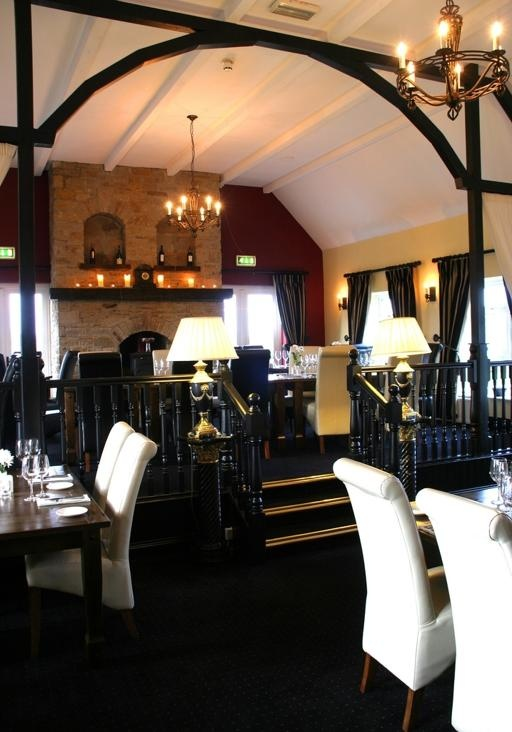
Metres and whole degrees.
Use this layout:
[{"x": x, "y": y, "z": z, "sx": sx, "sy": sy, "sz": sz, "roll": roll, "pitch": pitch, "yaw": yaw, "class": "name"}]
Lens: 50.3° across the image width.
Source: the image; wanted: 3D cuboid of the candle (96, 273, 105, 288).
[{"x": -2.630, "y": -1.459, "z": 9.227, "sx": 0.161, "sy": 0.235, "sz": 0.140, "roll": 1, "pitch": -3, "yaw": -41, "class": "candle"}]

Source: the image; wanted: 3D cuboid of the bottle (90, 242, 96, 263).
[{"x": -2.785, "y": -1.869, "z": 9.237, "sx": 0.108, "sy": 0.357, "sz": 0.355, "roll": 0, "pitch": -2, "yaw": -18, "class": "bottle"}]

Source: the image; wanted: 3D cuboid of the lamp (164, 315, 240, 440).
[{"x": -0.360, "y": 0.064, "z": 3.461, "sx": 0.411, "sy": 0.792, "sz": 0.758, "roll": 0, "pitch": -2, "yaw": -10, "class": "lamp"}]

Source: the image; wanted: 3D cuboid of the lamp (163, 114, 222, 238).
[{"x": -0.966, "y": -2.801, "z": 8.199, "sx": 0.630, "sy": 1.623, "sz": 0.658, "roll": -8, "pitch": 24, "yaw": -25, "class": "lamp"}]

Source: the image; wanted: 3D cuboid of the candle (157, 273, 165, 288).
[{"x": -1.707, "y": -1.528, "z": 9.697, "sx": 0.126, "sy": 0.255, "sz": 0.089, "roll": 0, "pitch": -2, "yaw": -11, "class": "candle"}]

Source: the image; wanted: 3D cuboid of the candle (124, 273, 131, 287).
[{"x": -2.249, "y": -1.497, "z": 9.453, "sx": 0.124, "sy": 0.235, "sz": 0.067, "roll": 0, "pitch": -2, "yaw": -10, "class": "candle"}]

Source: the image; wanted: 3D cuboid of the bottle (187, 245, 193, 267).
[{"x": -1.201, "y": -1.971, "z": 9.885, "sx": 0.117, "sy": 0.457, "sz": 0.379, "roll": 0, "pitch": -2, "yaw": -6, "class": "bottle"}]

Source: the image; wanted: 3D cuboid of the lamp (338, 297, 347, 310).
[{"x": 1.766, "y": -1.251, "z": 11.053, "sx": 0.089, "sy": 0.271, "sz": 0.393, "roll": 0, "pitch": -2, "yaw": -17, "class": "lamp"}]

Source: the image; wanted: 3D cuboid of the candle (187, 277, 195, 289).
[{"x": -1.188, "y": -1.497, "z": 9.840, "sx": 0.154, "sy": 0.282, "sz": 0.175, "roll": 0, "pitch": 1, "yaw": -16, "class": "candle"}]

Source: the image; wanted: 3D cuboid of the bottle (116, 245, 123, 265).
[{"x": -2.366, "y": -1.909, "z": 9.394, "sx": 0.110, "sy": 0.377, "sz": 0.332, "roll": 0, "pitch": -2, "yaw": -13, "class": "bottle"}]
